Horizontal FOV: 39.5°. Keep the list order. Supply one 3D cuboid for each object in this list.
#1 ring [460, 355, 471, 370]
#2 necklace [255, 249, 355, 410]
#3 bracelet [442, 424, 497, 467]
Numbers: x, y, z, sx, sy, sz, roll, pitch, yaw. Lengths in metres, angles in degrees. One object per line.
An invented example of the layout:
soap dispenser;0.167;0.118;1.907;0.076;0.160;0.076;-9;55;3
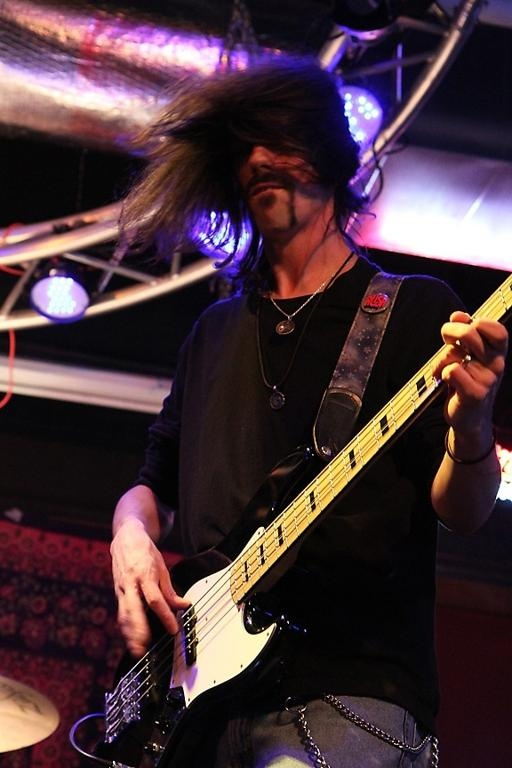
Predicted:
ring;0.307;-0.034;1.043;0.005;0.020;0.012;7;48;-49
necklace;0.102;-0.106;1.670;0.147;0.479;0.091;2;-26;37
bracelet;0.338;0.099;1.139;0.076;0.056;0.059;22;21;15
